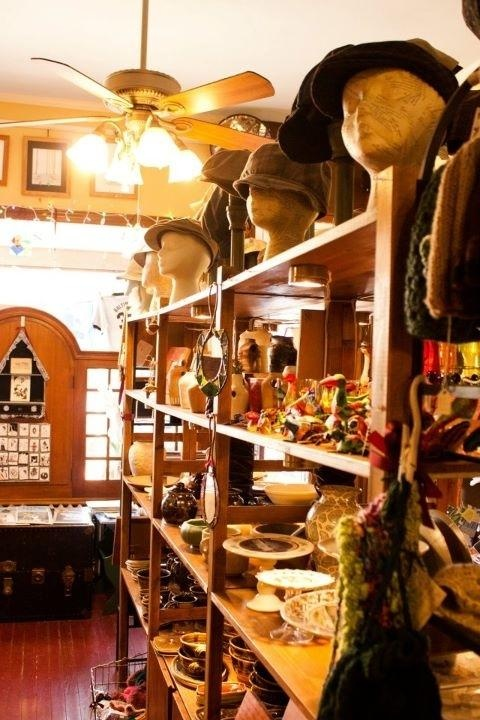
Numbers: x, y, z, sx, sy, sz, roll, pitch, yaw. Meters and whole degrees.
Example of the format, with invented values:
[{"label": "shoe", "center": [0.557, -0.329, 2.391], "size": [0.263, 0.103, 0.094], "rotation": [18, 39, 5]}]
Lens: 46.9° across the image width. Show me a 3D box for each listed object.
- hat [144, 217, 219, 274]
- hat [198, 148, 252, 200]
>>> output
[{"label": "hat", "center": [-0.252, -0.515, 2.343], "size": [0.280, 0.147, 0.207], "rotation": [24, -37, -1]}, {"label": "hat", "center": [-0.054, -0.585, 1.800], "size": [0.163, 0.081, 0.213], "rotation": [2, 13, -8]}]
